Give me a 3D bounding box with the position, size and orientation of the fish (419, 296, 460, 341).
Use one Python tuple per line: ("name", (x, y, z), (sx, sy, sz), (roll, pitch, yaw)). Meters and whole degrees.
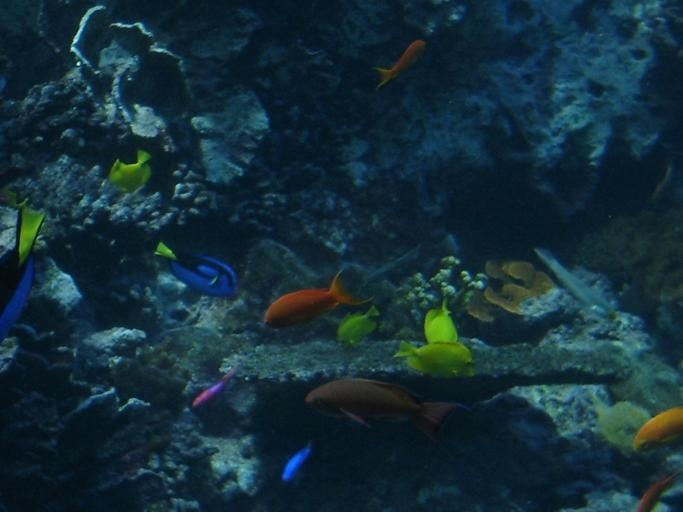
("fish", (1.231, 0.843, 10.685), (0.340, 0.525, 0.628), (7, 6, -11))
